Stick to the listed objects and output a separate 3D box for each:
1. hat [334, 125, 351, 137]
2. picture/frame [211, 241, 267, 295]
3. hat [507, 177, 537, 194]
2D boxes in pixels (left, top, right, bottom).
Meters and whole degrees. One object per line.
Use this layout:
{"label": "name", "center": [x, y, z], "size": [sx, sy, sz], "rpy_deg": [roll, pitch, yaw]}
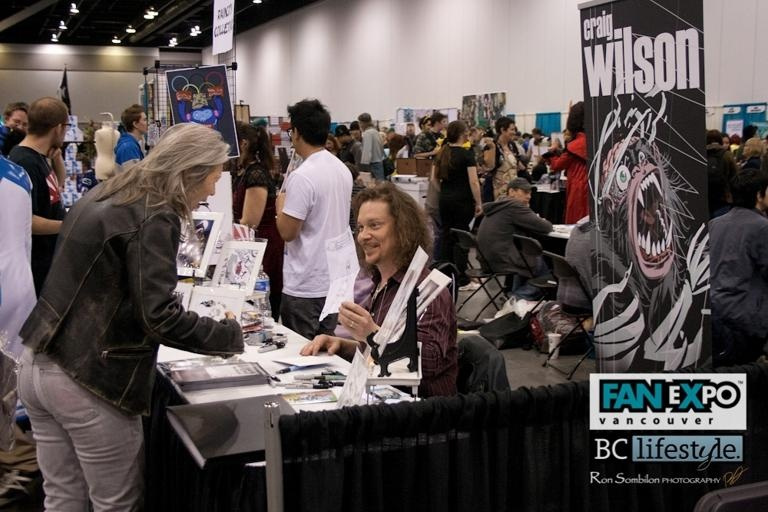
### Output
{"label": "hat", "center": [-0.747, -2.232, 11.186], "size": [0.229, 0.319, 0.296], "rpy_deg": [-3, -3, 5]}
{"label": "picture/frame", "center": [-0.786, 0.055, 3.331], "size": [0.222, 0.273, 0.096], "rpy_deg": [14, -15, 15]}
{"label": "hat", "center": [1.523, -0.791, 7.013], "size": [0.315, 0.181, 0.236], "rpy_deg": [-6, -6, 42]}
